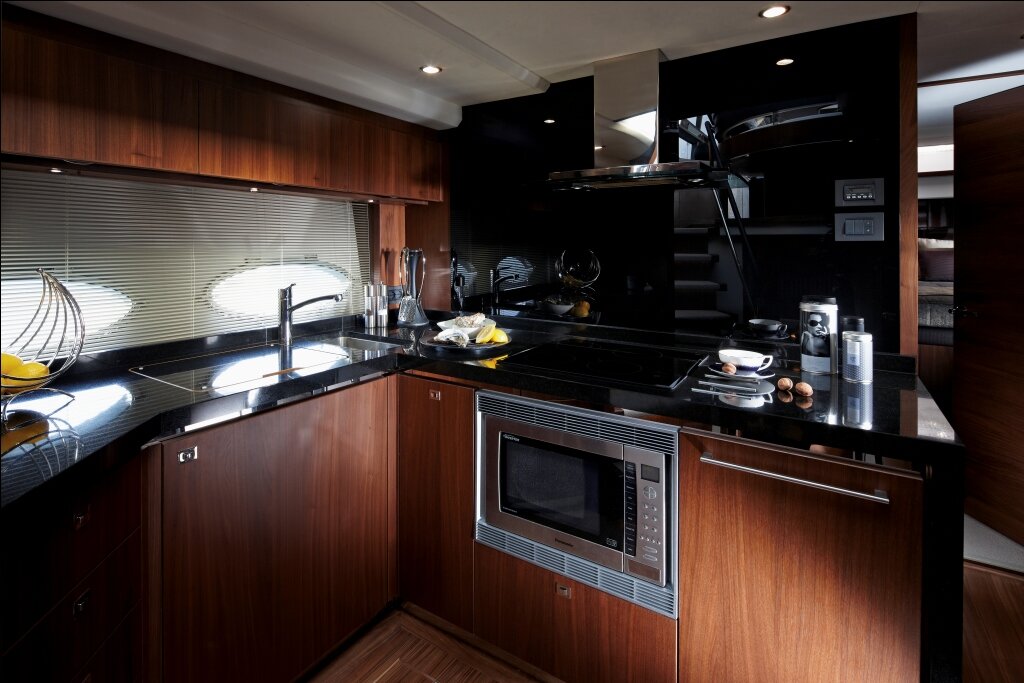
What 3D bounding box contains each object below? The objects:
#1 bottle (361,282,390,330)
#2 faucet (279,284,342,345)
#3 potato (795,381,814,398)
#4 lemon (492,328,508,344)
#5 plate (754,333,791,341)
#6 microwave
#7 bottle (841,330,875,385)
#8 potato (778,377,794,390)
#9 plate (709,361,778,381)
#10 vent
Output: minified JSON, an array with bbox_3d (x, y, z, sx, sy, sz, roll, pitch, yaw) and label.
[{"bbox_3d":[-0.793,-0.205,4.121,0.158,0.248,0.354,-3,15,-10],"label":"bottle"},{"bbox_3d":[-1.073,-0.146,3.767,0.287,0.353,0.300,11,6,34],"label":"faucet"},{"bbox_3d":[1.208,0.200,2.927,0.057,0.035,0.063,-8,3,-5],"label":"potato"},{"bbox_3d":[-0.060,-0.025,3.670,0.056,0.049,0.079,-10,22,-13],"label":"lemon"},{"bbox_3d":[1.277,-0.025,3.452,0.166,0.047,0.015,7,17,25],"label":"plate"},{"bbox_3d":[0.407,0.622,3.356,0.954,0.755,0.776,6,7,25],"label":"microwave"},{"bbox_3d":[1.474,0.069,3.026,0.126,0.208,0.087,7,17,27],"label":"bottle"},{"bbox_3d":[1.138,0.176,2.955,0.049,0.033,0.060,-13,4,30],"label":"potato"},{"bbox_3d":[1.034,0.111,3.184,0.284,0.062,0.320,5,16,19],"label":"plate"},{"bbox_3d":[0.592,-1.109,3.631,0.811,0.596,0.412,-1,8,12],"label":"vent"}]
